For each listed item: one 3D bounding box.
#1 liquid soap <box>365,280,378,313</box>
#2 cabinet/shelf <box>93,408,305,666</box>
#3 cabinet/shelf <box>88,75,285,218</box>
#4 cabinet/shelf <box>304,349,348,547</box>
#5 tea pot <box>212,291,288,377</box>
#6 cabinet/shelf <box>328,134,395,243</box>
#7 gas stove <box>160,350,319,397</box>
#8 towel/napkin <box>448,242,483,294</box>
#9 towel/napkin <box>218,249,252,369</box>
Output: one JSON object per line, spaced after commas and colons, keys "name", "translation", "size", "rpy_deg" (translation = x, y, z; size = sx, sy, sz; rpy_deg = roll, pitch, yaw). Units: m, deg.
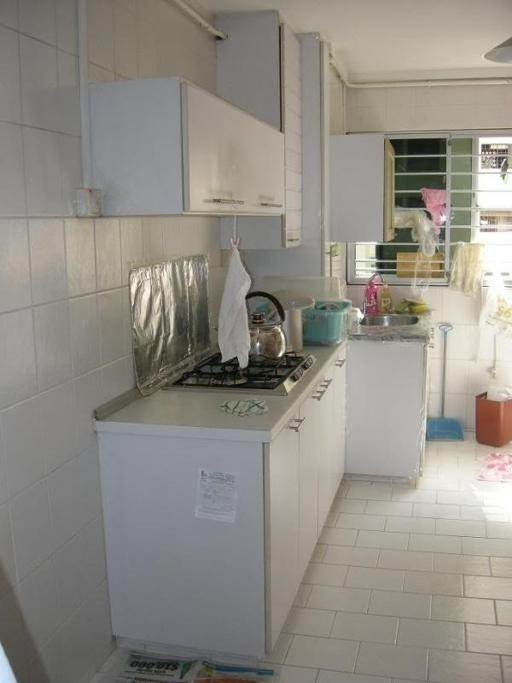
{"name": "liquid soap", "translation": [0.849, -0.325, 4.091], "size": [0.085, 0.264, 0.095], "rpy_deg": [1, 7, 12]}
{"name": "cabinet/shelf", "translation": [-0.138, 0.573, 2.277], "size": [0.655, 1.127, 0.734], "rpy_deg": [0, 7, 9]}
{"name": "cabinet/shelf", "translation": [-0.148, -0.630, 2.000], "size": [0.301, 0.407, 1.066], "rpy_deg": [8, 14, 18]}
{"name": "cabinet/shelf", "translation": [0.334, 0.526, 2.702], "size": [0.250, 0.688, 0.700], "rpy_deg": [-2, 20, 12]}
{"name": "tea pot", "translation": [-0.017, -0.043, 2.592], "size": [0.309, 0.410, 0.372], "rpy_deg": [0, 4, 0]}
{"name": "cabinet/shelf", "translation": [0.704, -0.961, 3.909], "size": [0.496, 1.021, 0.989], "rpy_deg": [-1, 7, 11]}
{"name": "gas stove", "translation": [-0.043, 0.122, 2.439], "size": [0.501, 0.072, 0.607], "rpy_deg": [2, 8, 16]}
{"name": "towel/napkin", "translation": [1.639, -0.557, 4.278], "size": [0.310, 0.506, 0.079], "rpy_deg": [6, 11, 25]}
{"name": "towel/napkin", "translation": [-0.092, -0.137, 2.206], "size": [0.120, 0.494, 0.193], "rpy_deg": [-1, 7, -3]}
